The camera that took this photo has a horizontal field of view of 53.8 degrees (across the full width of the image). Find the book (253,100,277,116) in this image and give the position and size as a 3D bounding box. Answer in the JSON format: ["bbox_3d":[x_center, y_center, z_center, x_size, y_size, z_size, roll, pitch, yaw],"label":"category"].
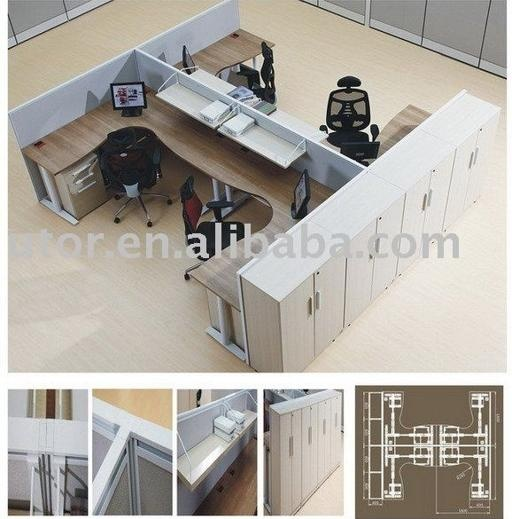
[{"bbox_3d":[0.089,-1.579,5.388,0.194,0.214,0.052,33,-34,25],"label":"book"}]

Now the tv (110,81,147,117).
[{"bbox_3d":[-1.358,-1.699,5.370,0.317,0.188,0.332,-4,-45,-5],"label":"tv"}]

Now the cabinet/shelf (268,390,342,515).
[{"bbox_3d":[0.368,1.526,3.995,0.232,0.667,0.654,24,-49,35],"label":"cabinet/shelf"}]

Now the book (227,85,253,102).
[{"bbox_3d":[-0.133,-1.820,5.505,0.213,0.211,0.053,30,-36,25],"label":"book"}]

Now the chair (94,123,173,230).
[{"bbox_3d":[-1.297,-0.859,5.202,0.656,0.637,0.957,-15,-27,-7],"label":"chair"}]
